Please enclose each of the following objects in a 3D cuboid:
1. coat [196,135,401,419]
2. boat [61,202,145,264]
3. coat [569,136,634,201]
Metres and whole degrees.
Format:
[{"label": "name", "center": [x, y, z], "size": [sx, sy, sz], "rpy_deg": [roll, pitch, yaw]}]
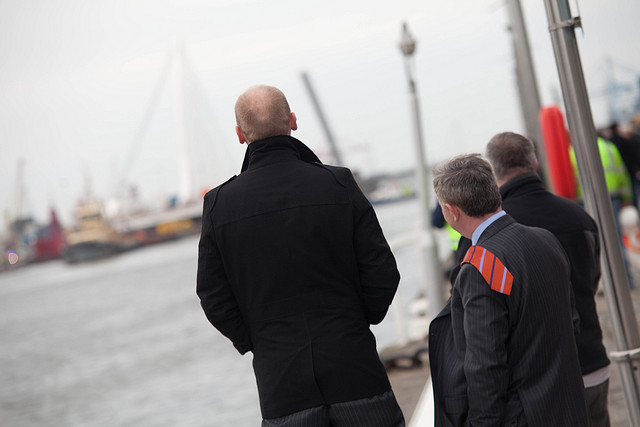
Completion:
[{"label": "coat", "center": [-0.131, 0.312, 4.780], "size": [1.058, 1.358, 0.299], "rpy_deg": [-13, 4, -12]}, {"label": "boat", "center": [-1.231, 0.115, 4.948], "size": [0.273, 0.208, 0.294], "rpy_deg": [-12, -5, 11]}, {"label": "coat", "center": [2.047, -0.308, 6.592], "size": [0.475, 0.579, 0.297], "rpy_deg": [-9, 8, 19]}]
